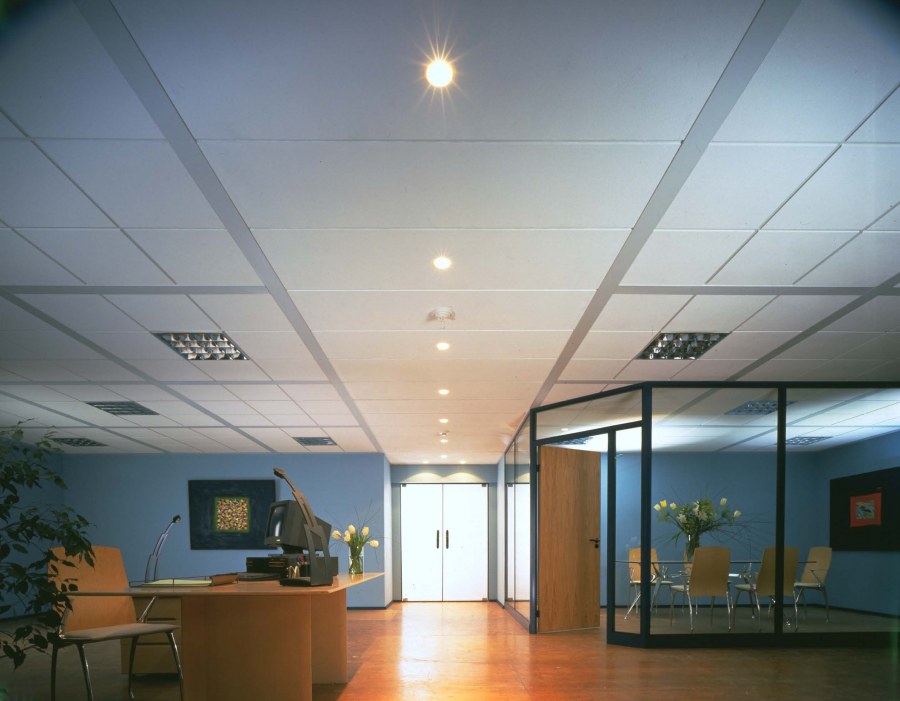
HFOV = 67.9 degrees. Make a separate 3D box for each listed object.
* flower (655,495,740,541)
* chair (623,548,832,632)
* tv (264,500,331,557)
[{"bbox_3d":[2.484,1.698,6.962,0.558,0.412,0.525,1,-13,-4],"label":"flower"},{"bbox_3d":[2.637,2.340,6.776,1.649,0.672,0.369,-1,-15,1],"label":"chair"},{"bbox_3d":[-1.072,1.271,4.920,0.477,0.446,0.461,16,-25,-38],"label":"tv"}]
